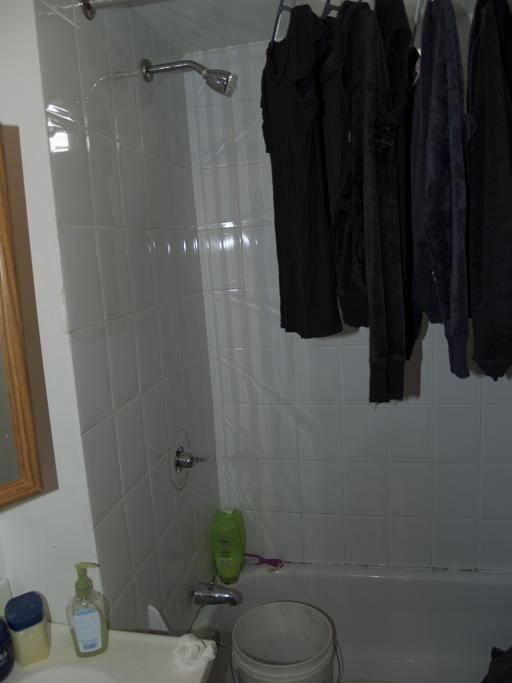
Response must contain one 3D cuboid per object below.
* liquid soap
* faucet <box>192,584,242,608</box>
[{"bbox_3d":[-0.298,0.467,0.991,0.076,0.165,0.083,-12,13,-33],"label":"liquid soap"},{"bbox_3d":[-0.117,0.719,1.617,0.113,0.077,0.075,-5,-5,13],"label":"faucet"}]
